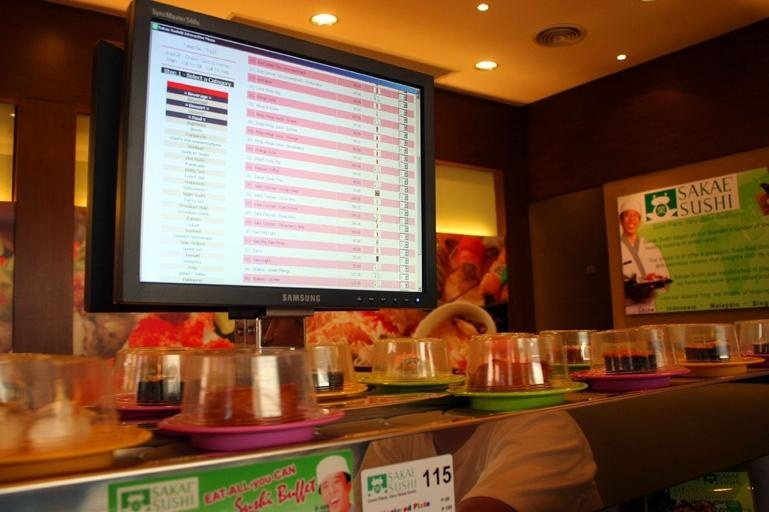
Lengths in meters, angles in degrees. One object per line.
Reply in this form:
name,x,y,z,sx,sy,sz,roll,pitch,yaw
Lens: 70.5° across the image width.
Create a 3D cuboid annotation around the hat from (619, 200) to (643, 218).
hat,2.196,-0.423,4.855,0.131,0.107,0.148,-2,-28,20
